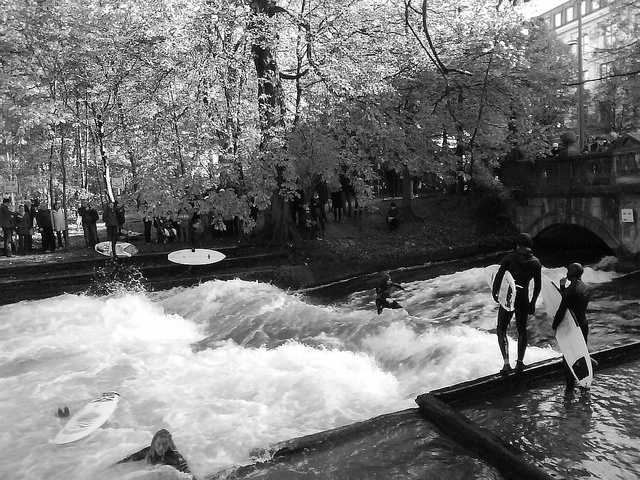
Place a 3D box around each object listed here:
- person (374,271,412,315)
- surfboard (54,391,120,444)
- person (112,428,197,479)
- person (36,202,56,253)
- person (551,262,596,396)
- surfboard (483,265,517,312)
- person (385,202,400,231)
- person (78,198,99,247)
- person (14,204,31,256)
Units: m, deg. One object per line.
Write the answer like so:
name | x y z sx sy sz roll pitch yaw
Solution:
person | 2.062 1.583 16.797 0.689 1.238 1.267 -3 8 7
surfboard | -4.640 3.614 11.221 0.522 0.203 1.680 23 5 0
person | -2.794 3.712 9.805 1.481 0.723 0.401 1 9 30
person | -11.290 -0.527 22.905 0.576 1.964 0.792 -8 9 -27
person | 4.742 1.184 10.518 0.608 1.489 0.713 0 9 25
surfboard | 3.587 0.898 10.920 0.507 1.189 0.160 -2 -38 2
person | 3.831 -1.313 29.158 0.695 1.372 1.030 -3 8 6
person | -9.659 -0.684 23.340 0.665 1.957 1.414 -7 9 -23
person | -11.838 -0.412 22.177 0.561 1.950 1.495 -8 9 -29
